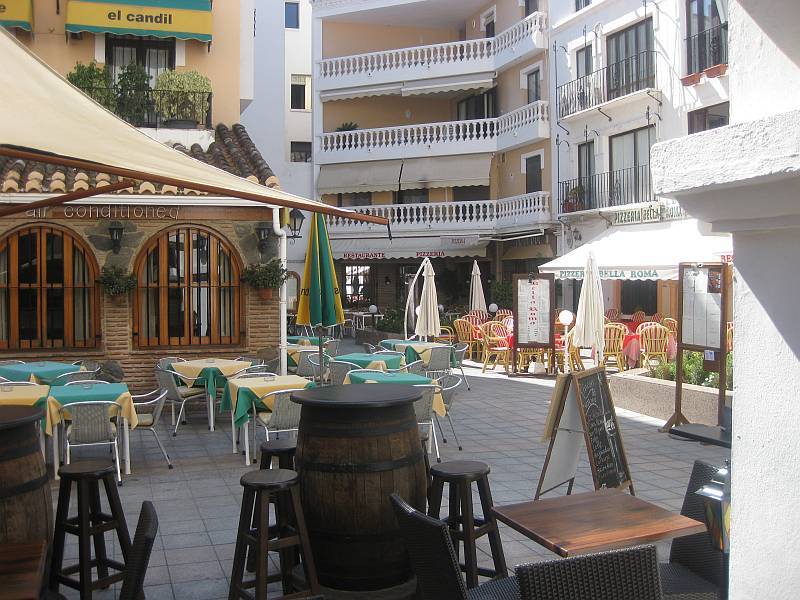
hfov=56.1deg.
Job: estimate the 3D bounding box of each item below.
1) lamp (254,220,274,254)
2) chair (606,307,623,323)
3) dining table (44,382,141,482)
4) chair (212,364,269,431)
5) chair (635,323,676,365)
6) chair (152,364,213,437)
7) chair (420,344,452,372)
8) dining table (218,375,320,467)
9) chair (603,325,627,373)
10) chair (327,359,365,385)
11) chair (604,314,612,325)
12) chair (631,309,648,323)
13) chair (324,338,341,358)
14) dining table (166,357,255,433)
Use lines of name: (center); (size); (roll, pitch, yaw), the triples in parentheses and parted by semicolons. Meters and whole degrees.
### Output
lamp: (-2.289, -1.056, 12.910); (0.433, 0.667, 0.407); (0, -4, -4)
chair: (6.157, 0.456, 21.434); (0.284, 0.439, 0.295); (-1, -4, 11)
dining table: (-3.544, 1.421, 8.826); (0.943, 0.866, 1.041); (-1, 8, -12)
chair: (-2.380, 1.428, 11.131); (0.850, 1.386, 1.007); (3, 0, -19)
chair: (5.335, 0.934, 15.643); (0.626, 1.110, 0.748); (0, 13, 7)
chair: (-3.131, 1.486, 11.098); (0.891, 1.432, 0.977); (-2, 4, -26)
chair: (0.701, 1.018, 13.406); (0.420, 0.618, 0.408); (-2, 11, -19)
dining table: (-1.673, 1.396, 9.681); (1.212, 1.149, 1.205); (0, 0, -43)
chair: (4.704, 1.008, 16.259); (0.456, 1.043, 0.628); (-1, 0, 18)
chair: (-0.872, 1.131, 11.299); (0.378, 0.479, 0.394); (5, 10, 32)
chair: (5.249, 0.502, 18.817); (0.177, 0.256, 0.177); (4, 21, 12)
chair: (6.462, 0.483, 20.161); (0.484, 0.425, 0.507); (-4, -13, 22)
chair: (-1.285, 0.988, 14.673); (0.362, 0.468, 0.392); (0, 6, -11)
dining table: (-2.868, 1.283, 11.331); (0.976, 0.835, 1.016); (4, 5, 36)
